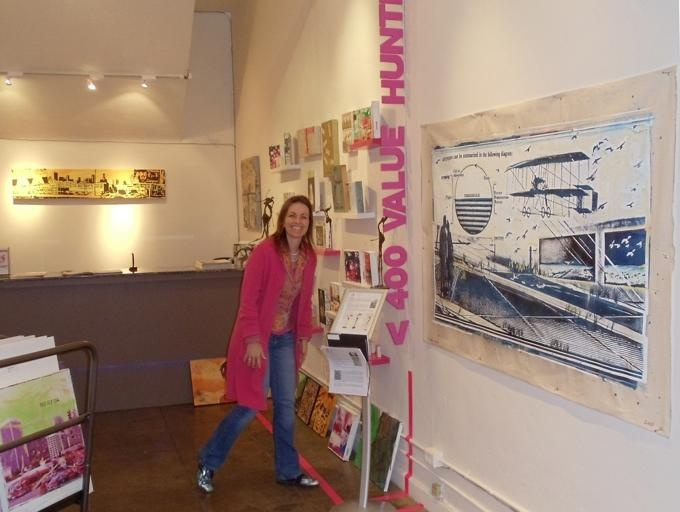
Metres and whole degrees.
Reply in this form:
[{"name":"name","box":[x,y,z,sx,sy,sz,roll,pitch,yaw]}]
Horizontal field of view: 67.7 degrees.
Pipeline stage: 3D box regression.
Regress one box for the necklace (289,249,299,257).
[{"name":"necklace","box":[-0.314,-0.013,3.480,0.020,0.045,0.088,1,5,32]}]

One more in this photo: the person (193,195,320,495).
[{"name":"person","box":[-0.542,0.635,3.522,0.802,2.075,0.386,-3,3,-18]}]

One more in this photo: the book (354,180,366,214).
[{"name":"book","box":[0.152,-0.451,3.892,0.072,0.236,0.069,-2,3,-12]}]

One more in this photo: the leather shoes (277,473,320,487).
[{"name":"leather shoes","box":[-0.309,1.586,3.641,0.270,0.093,0.106,-1,-3,6]}]

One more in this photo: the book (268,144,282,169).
[{"name":"book","box":[-0.731,-1.124,5.691,0.018,0.410,0.381,-4,6,-29]}]
